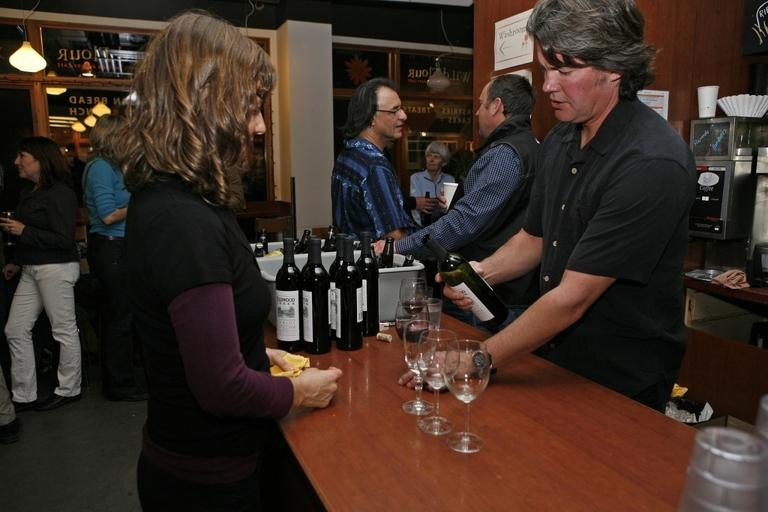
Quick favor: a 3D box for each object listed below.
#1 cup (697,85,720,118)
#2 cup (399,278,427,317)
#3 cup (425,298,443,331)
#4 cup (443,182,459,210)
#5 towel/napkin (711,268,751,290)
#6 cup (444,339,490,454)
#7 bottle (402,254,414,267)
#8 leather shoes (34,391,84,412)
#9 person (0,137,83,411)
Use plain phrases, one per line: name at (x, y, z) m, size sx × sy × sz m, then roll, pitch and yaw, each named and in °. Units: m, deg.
cup at (2.146, -1.027, 3.866) m, size 0.121 × 0.224 × 0.207 m, roll 2°, pitch 10°, yaw 30°
cup at (0.136, 0.175, 2.563) m, size 0.135 × 0.207 × 0.132 m, roll 0°, pitch -8°, yaw 0°
cup at (0.220, 0.235, 2.458) m, size 0.103 × 0.127 × 0.109 m, roll 0°, pitch -8°, yaw 0°
cup at (0.450, -0.416, 3.974) m, size 0.154 × 0.174 × 0.165 m, roll 2°, pitch 9°, yaw 0°
towel/napkin at (2.169, 0.147, 3.599) m, size 0.129 × 0.045 × 0.142 m, roll -5°, pitch 9°, yaw -9°
cup at (0.291, 0.455, 2.039) m, size 0.149 × 0.354 × 0.278 m, roll -1°, pitch 9°, yaw 7°
bottle at (0.120, 0.020, 2.934) m, size 0.049 × 0.081 × 0.052 m, roll 0°, pitch 2°, yaw 0°
leather shoes at (-2.439, 1.080, 4.379) m, size 0.318 × 0.148 × 0.115 m, roll 0°, pitch 3°, yaw -42°
person at (-2.509, 0.121, 4.257) m, size 0.564 × 1.973 × 0.424 m, roll -6°, pitch 9°, yaw -23°
